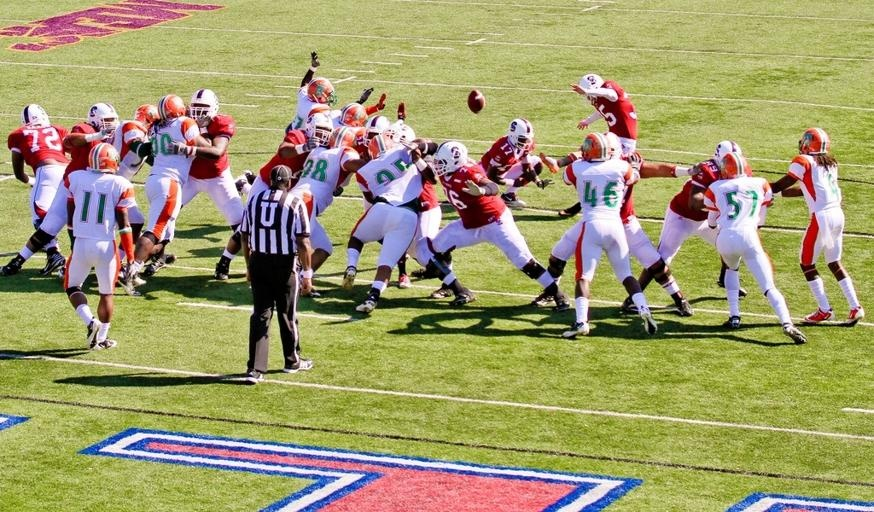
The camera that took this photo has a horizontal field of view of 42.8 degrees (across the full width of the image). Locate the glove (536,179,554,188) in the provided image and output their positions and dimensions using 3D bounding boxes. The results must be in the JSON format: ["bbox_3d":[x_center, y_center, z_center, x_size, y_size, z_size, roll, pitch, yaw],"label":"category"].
[{"bbox_3d":[1.705,-1.164,18.018,0.164,0.103,0.320,-5,3,-14],"label":"glove"}]

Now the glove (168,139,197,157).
[{"bbox_3d":[-3.582,-1.511,15.625,0.348,0.114,0.190,3,36,-9],"label":"glove"}]

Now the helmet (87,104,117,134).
[{"bbox_3d":[-4.789,-1.986,15.987,0.566,0.378,0.384,7,11,21],"label":"helmet"}]

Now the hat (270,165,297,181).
[{"bbox_3d":[-1.872,-0.978,13.472,0.263,0.173,0.356,7,21,12],"label":"hat"}]

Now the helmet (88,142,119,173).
[{"bbox_3d":[-4.158,-1.234,13.976,0.346,0.305,0.418,11,20,16],"label":"helmet"}]

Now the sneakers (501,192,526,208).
[{"bbox_3d":[1.232,-0.903,18.117,0.538,0.190,0.160,10,26,-17],"label":"sneakers"}]

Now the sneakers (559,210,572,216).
[{"bbox_3d":[2.044,-0.676,17.798,0.206,0.073,0.085,4,10,34],"label":"sneakers"}]

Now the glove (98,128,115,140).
[{"bbox_3d":[-4.678,-1.706,15.662,0.206,0.141,0.192,-13,-13,-33],"label":"glove"}]

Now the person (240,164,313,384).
[{"bbox_3d":[-1.946,0.227,13.415,0.815,2.587,0.466,-2,9,-7],"label":"person"}]

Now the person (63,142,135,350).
[{"bbox_3d":[-4.218,-0.101,13.866,0.870,2.540,0.566,-4,9,-14],"label":"person"}]

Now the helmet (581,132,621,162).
[{"bbox_3d":[2.098,-1.455,14.771,0.512,0.332,0.364,17,18,24],"label":"helmet"}]

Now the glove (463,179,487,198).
[{"bbox_3d":[0.480,-0.891,14.750,0.263,0.071,0.204,26,16,31],"label":"glove"}]

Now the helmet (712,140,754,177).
[{"bbox_3d":[3.949,-1.227,14.719,0.449,0.513,0.485,-19,13,-15],"label":"helmet"}]
